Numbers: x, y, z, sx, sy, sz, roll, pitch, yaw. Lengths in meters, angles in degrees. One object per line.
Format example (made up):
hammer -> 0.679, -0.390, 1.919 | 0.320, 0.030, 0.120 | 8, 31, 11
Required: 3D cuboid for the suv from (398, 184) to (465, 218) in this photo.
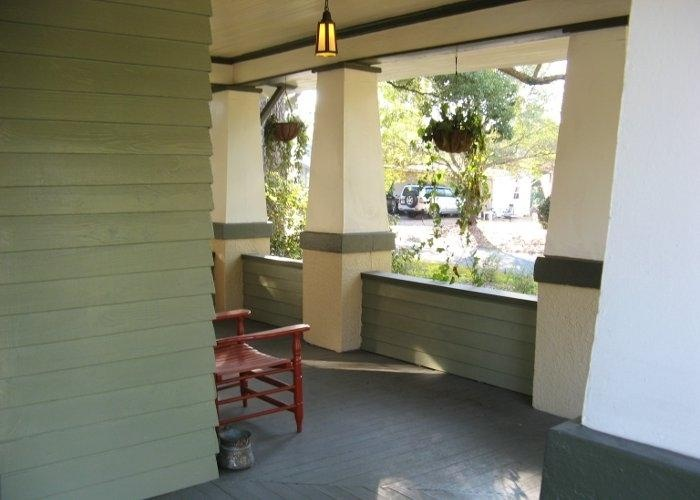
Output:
suv -> 1.956, -1.177, 12.433 | 2.320, 0.832, 1.053 | -9, 12, -36
